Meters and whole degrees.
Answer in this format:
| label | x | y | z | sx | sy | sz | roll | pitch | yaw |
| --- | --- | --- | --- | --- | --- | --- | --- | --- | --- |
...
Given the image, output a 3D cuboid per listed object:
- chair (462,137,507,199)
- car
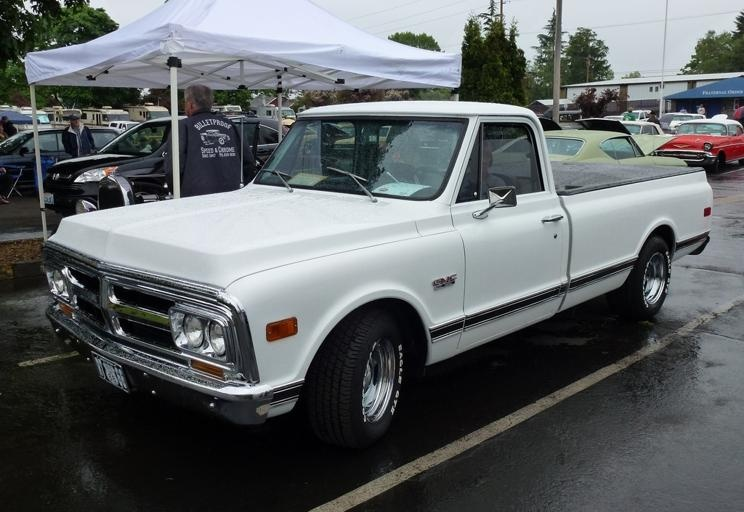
| label | x | y | z | sx | sy | sz | roll | pitch | yaw |
| --- | --- | --- | --- | --- | --- | --- | --- | --- | --- |
| chair | 0.993 | -0.776 | 4.298 | 0.247 | 0.359 | 0.532 | 7 | 27 | 29 |
| car | 0.847 | -0.131 | 5.239 | 6.642 | 2.033 | 2.896 | -7 | 9 | -39 |
